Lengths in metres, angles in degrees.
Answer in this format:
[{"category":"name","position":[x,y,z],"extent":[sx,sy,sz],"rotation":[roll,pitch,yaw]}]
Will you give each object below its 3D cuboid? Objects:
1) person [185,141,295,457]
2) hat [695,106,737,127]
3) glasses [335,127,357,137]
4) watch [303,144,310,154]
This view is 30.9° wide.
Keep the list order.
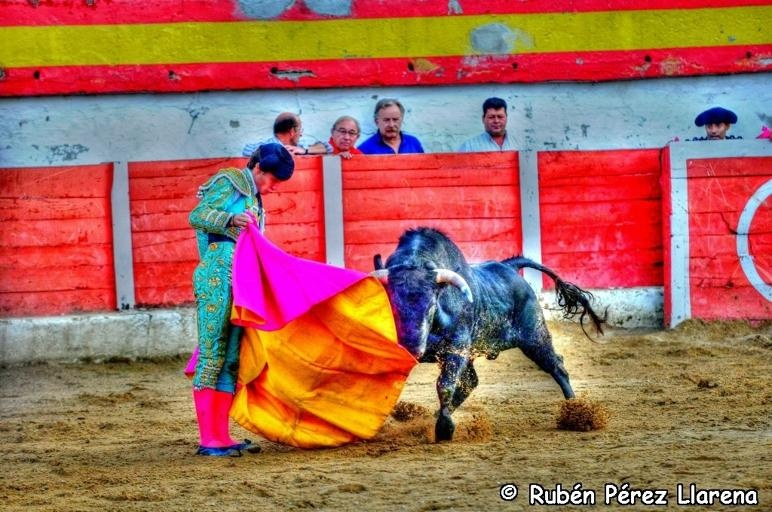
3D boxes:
[{"category":"person","position":[-1.075,0.337,9.879],"extent":[0.609,2.155,0.328],"rotation":[-3,-2,-9]},{"category":"hat","position":[3.045,-1.290,12.972],"extent":[0.383,0.190,0.264],"rotation":[-3,-2,8]},{"category":"glasses","position":[-0.328,-1.104,12.523],"extent":[0.200,0.076,0.070],"rotation":[-2,-2,-2]},{"category":"watch","position":[-0.684,-0.952,12.577],"extent":[0.094,0.074,0.101],"rotation":[-1,-1,-7]}]
